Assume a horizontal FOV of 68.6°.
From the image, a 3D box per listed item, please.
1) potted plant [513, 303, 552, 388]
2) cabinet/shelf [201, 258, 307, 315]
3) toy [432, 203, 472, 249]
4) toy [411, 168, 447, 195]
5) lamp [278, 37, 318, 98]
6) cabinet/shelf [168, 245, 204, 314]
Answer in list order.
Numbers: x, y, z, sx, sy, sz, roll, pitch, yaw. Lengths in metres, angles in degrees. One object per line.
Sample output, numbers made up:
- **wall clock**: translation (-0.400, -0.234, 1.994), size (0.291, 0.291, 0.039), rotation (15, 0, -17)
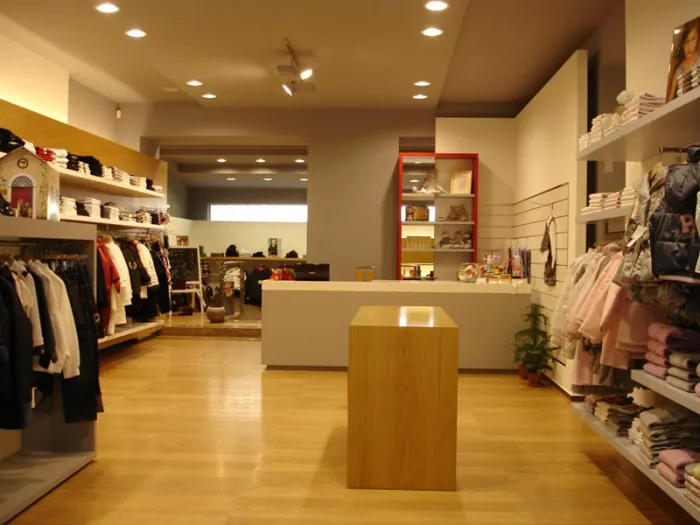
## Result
- **potted plant**: translation (2.120, 0.949, 5.975), size (0.409, 0.871, 0.645), rotation (1, 5, 11)
- **cabinet/shelf**: translation (-2.087, 0.478, 10.460), size (1.757, 1.093, 2.863), rotation (-1, 5, -17)
- **toy**: translation (1.537, -0.528, 7.611), size (0.532, 0.662, 0.223), rotation (1, 5, 9)
- **toy**: translation (1.150, -1.174, 7.567), size (0.580, 0.441, 0.262), rotation (5, 5, 33)
- **lamp**: translation (-0.654, -2.411, 6.265), size (0.360, 0.630, 0.446), rotation (-6, -1, 23)
- **cabinet/shelf**: translation (-3.171, 0.338, 10.007), size (0.657, 1.300, 0.614), rotation (-1, 5, -19)
